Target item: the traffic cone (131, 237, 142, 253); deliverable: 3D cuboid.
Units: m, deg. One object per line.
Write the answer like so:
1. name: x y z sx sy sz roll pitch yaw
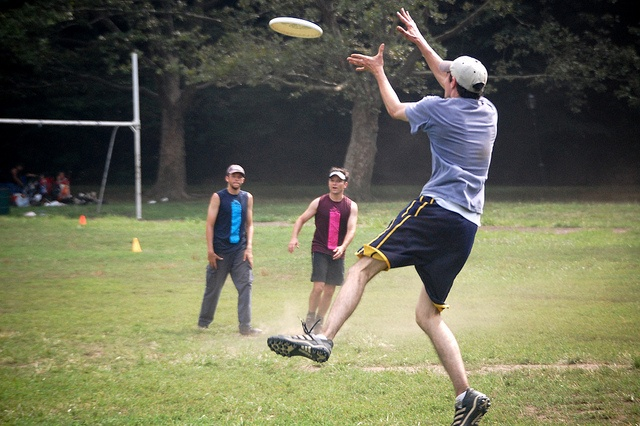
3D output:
1. traffic cone: -4.998 0.881 17.761 0.356 0.434 0.344 1 -5 -18

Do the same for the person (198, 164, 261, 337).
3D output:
1. person: -1.811 0.717 13.223 1.066 3.282 0.650 3 3 -8

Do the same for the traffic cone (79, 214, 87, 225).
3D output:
1. traffic cone: -7.534 0.239 21.009 0.292 0.303 0.307 0 -6 -5

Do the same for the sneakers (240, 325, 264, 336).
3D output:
1. sneakers: -1.344 2.321 13.166 0.463 0.189 0.166 -2 2 -5
